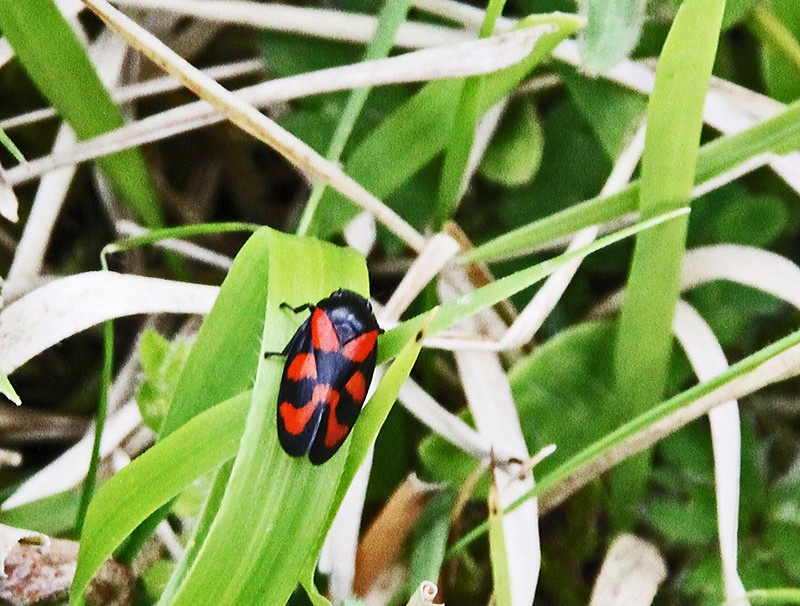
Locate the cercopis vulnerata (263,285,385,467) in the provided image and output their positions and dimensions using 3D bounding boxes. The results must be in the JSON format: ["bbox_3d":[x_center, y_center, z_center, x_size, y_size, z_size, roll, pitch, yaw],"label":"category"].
[{"bbox_3d":[-0.051,0.052,0.698,0.073,0.036,0.131,17,50,0],"label":"cercopis vulnerata"}]
